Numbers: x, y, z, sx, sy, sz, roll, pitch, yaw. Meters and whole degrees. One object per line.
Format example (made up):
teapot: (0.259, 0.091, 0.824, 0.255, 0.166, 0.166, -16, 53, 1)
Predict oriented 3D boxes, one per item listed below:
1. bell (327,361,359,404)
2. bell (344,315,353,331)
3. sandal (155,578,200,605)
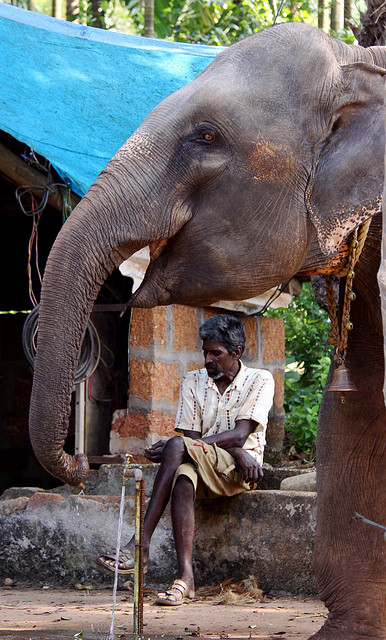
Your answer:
bell: (0.397, 0.166, 2.462, 0.092, 0.097, 0.085, -2, 1, -26)
bell: (0.407, 0.005, 2.423, 0.017, 0.029, 0.025, -10, -6, 8)
sandal: (-0.058, 1.089, 3.707, 0.068, 0.072, 0.193, -6, -14, 29)
